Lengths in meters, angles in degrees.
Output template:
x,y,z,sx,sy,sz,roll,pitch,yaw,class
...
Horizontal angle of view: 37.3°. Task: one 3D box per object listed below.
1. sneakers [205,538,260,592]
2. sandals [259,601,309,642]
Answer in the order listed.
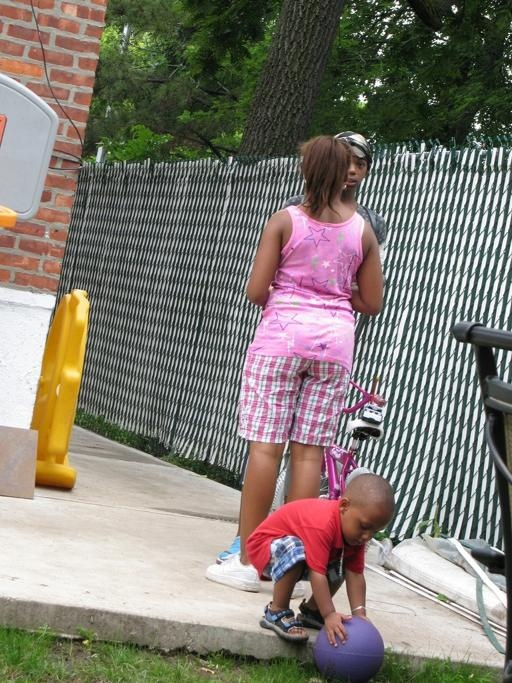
x,y,z,sx,sy,sz,roll,pitch,yaw,class
-0.091,0.817,2.766,0.263,0.149,0.114,14,-5,42,sneakers
0.076,0.820,2.233,0.070,0.059,0.169,5,0,-42,sandals
